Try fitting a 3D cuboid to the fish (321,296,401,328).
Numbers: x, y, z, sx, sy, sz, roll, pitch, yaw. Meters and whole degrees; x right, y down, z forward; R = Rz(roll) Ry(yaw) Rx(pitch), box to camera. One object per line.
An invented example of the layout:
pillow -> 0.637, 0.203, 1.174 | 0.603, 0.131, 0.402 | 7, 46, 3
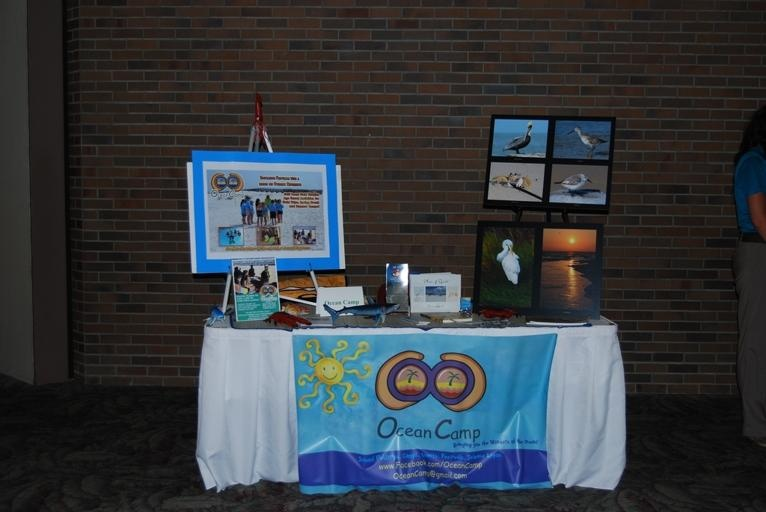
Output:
fish -> -0.143, 0.454, 8.978 | 0.771, 0.249, 0.204 | -2, -10, 3
